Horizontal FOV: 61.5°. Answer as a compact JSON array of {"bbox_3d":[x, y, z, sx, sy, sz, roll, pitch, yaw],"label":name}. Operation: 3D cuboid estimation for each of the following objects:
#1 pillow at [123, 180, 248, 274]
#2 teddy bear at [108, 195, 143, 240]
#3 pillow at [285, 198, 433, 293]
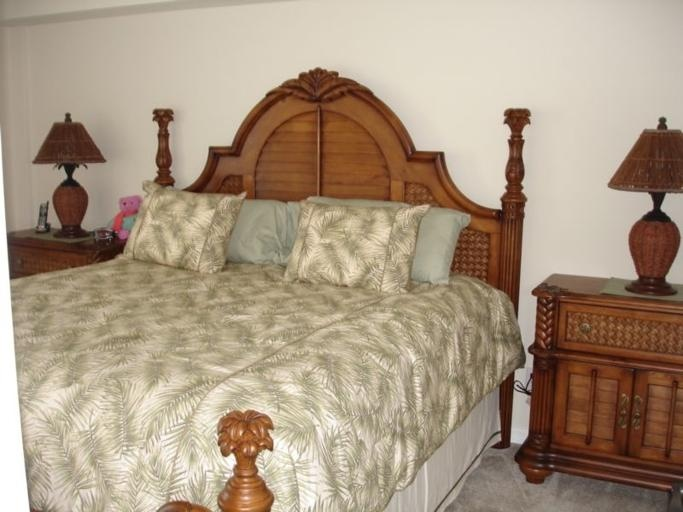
[{"bbox_3d":[-0.846,-0.145,3.149,0.562,0.497,0.162,10,-16,30],"label":"pillow"},{"bbox_3d":[-1.471,-0.265,3.936,0.212,0.283,0.186,-8,12,-13],"label":"teddy bear"},{"bbox_3d":[0.065,-0.047,2.792,0.613,0.473,0.183,4,-15,28],"label":"pillow"}]
